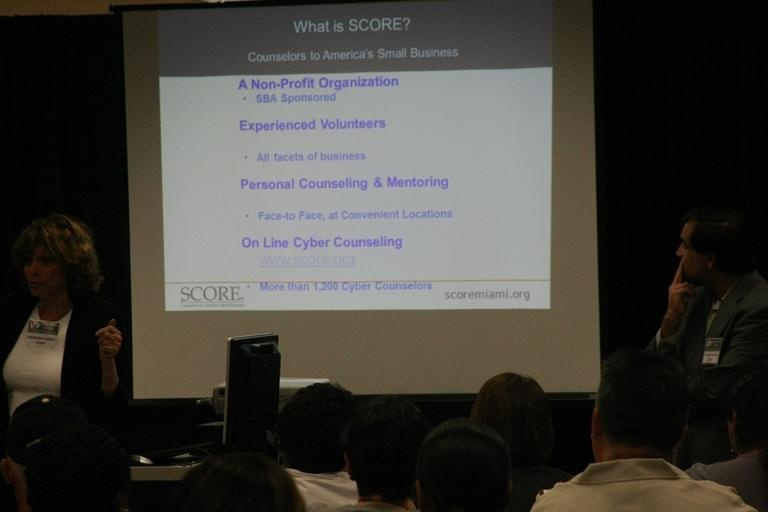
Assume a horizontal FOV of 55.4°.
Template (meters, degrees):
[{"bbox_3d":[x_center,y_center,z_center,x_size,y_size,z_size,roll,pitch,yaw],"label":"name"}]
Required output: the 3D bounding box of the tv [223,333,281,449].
[{"bbox_3d":[-0.637,0.728,3.797,0.355,0.596,0.192,2,5,-29],"label":"tv"}]
